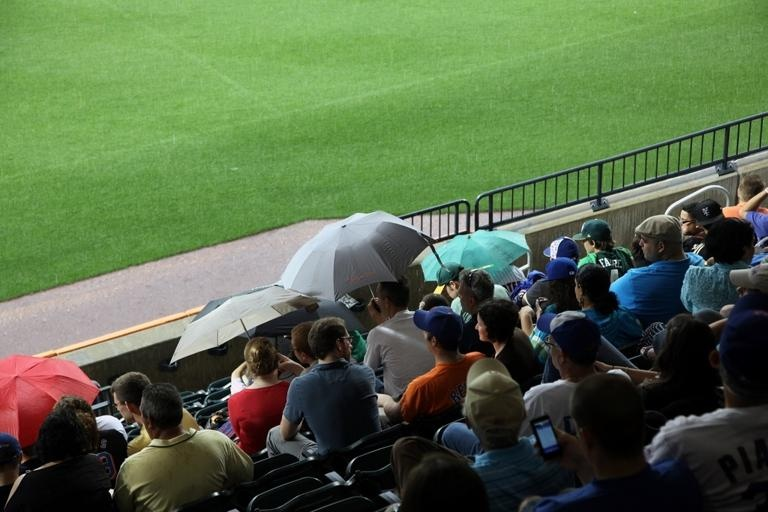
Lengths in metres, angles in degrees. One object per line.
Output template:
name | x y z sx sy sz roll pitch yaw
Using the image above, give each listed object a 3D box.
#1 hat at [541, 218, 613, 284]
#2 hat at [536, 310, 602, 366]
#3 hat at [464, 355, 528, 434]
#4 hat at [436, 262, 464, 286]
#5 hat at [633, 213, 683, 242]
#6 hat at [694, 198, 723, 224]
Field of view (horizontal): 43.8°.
hat | 2.042 -0.141 10.217 0.755 0.417 0.499 14 15 21
hat | 1.529 0.648 7.926 0.322 0.483 0.283 -22 -32 -33
hat | 0.859 1.112 7.498 0.444 0.523 0.428 -8 -2 6
hat | 0.708 0.194 10.198 0.269 0.215 0.200 -5 12 9
hat | 2.719 -0.281 9.437 0.370 0.184 0.266 15 12 23
hat | 3.512 -0.482 10.317 0.280 0.275 0.220 -8 -2 17
